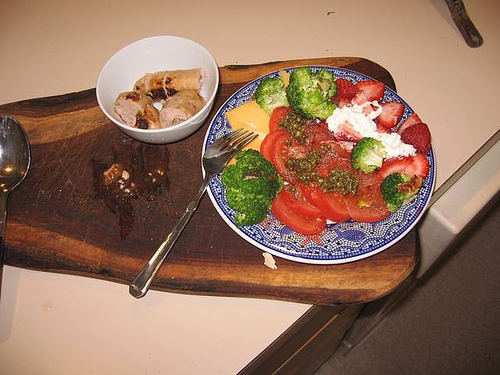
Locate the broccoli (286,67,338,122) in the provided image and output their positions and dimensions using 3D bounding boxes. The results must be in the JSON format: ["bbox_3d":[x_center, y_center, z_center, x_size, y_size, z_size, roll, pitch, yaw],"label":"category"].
[{"bbox_3d":[0.406,-0.599,2.793,0.295,0.354,0.172,28,-22,6],"label":"broccoli"}]

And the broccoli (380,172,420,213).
[{"bbox_3d":[0.928,0.030,2.609,0.220,0.212,0.134,-2,23,-8],"label":"broccoli"}]

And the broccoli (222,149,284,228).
[{"bbox_3d":[0.009,0.007,2.588,0.375,0.422,0.231,3,22,4],"label":"broccoli"}]

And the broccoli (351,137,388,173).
[{"bbox_3d":[0.727,-0.209,2.639,0.151,0.200,0.206,17,26,25],"label":"broccoli"}]

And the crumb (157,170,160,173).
[{"bbox_3d":[-0.620,-0.103,2.817,0.018,0.018,0.005,4,-8,-7],"label":"crumb"}]

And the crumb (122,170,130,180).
[{"bbox_3d":[-0.839,-0.084,2.815,0.045,0.048,0.011,4,-22,2],"label":"crumb"}]

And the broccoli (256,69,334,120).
[{"bbox_3d":[0.301,-0.616,2.727,0.436,0.347,0.179,8,2,19],"label":"broccoli"}]

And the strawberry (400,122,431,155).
[{"bbox_3d":[1.075,-0.319,2.733,0.185,0.185,0.133,21,29,39],"label":"strawberry"}]

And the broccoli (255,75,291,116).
[{"bbox_3d":[0.140,-0.624,2.835,0.230,0.252,0.071,13,-4,-10],"label":"broccoli"}]

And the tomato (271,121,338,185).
[{"bbox_3d":[0.351,-0.229,2.726,0.445,0.349,0.204,-9,24,-23],"label":"tomato"}]

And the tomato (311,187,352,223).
[{"bbox_3d":[0.498,0.106,2.592,0.202,0.062,0.215,32,24,-24],"label":"tomato"}]
